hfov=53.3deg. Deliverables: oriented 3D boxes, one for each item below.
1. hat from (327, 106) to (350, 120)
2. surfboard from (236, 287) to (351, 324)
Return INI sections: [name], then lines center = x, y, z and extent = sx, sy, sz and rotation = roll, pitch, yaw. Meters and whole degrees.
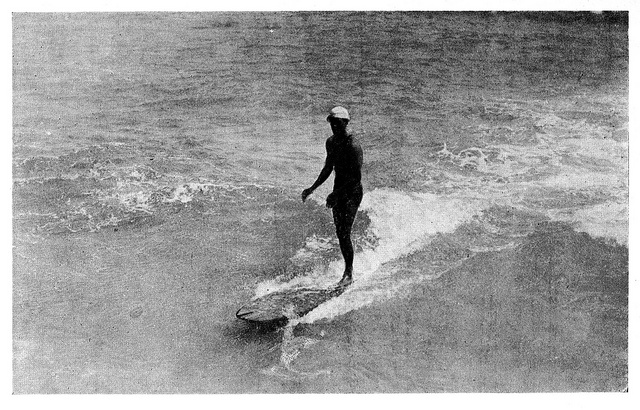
[hat]
center = 0.218, -1.041, 7.327
extent = 0.179, 0.111, 0.210
rotation = 7, 6, 6
[surfboard]
center = -0.401, 1.153, 7.393
extent = 1.538, 0.076, 0.425
rotation = -7, 44, -12
